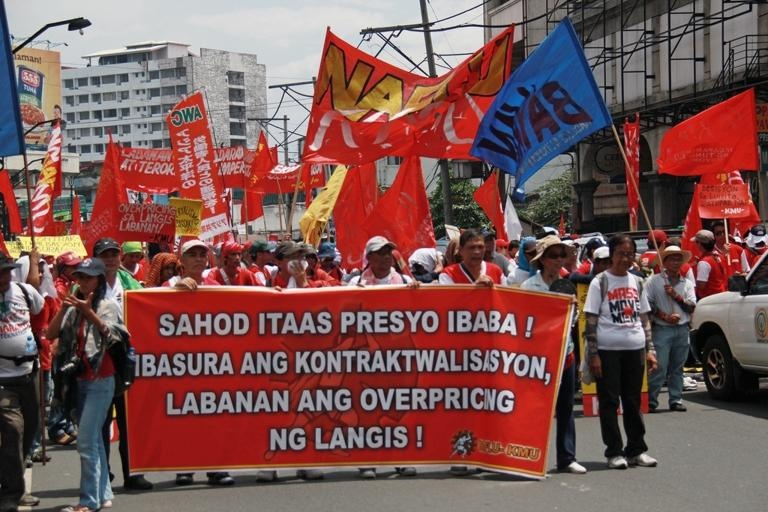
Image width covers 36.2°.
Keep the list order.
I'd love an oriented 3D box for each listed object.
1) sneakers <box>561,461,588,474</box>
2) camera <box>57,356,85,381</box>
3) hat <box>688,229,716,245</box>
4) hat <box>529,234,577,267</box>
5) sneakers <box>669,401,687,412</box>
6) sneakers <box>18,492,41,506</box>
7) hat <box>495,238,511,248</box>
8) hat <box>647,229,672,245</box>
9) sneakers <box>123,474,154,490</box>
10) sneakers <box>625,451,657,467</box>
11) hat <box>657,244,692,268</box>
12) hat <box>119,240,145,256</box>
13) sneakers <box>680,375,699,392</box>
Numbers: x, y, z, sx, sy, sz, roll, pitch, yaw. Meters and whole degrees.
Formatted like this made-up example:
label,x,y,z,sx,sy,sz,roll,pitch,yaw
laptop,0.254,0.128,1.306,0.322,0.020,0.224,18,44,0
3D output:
label,x,y,z,sx,sy,sz,roll,pitch,yaw
sneakers,2.580,2.887,15.865,0.357,0.173,0.136,-6,-8,29
camera,-3.995,1.437,14.878,0.325,0.268,0.135,-2,0,-17
hat,5.667,-0.325,20.922,0.271,0.201,0.374,-3,4,-31
hat,2.351,-0.149,16.050,0.452,0.236,0.486,5,-35,-33
sneakers,4.726,2.439,18.846,0.111,0.136,0.321,1,-9,-11
sneakers,-4.617,3.192,15.273,0.238,0.163,0.290,-2,0,-6
hat,2.154,-0.220,21.378,0.205,0.141,0.074,-4,-43,32
hat,5.266,-0.336,22.405,0.298,0.268,0.424,5,10,33
sneakers,-3.283,3.055,15.694,0.328,0.161,0.187,-1,-3,16
sneakers,3.527,2.807,16.081,0.433,0.221,0.172,-2,-2,17
hat,4.642,-0.040,18.798,0.388,0.134,0.425,0,-25,5
hat,-4.058,-0.128,18.834,0.314,0.232,0.422,-1,10,-7
sneakers,5.430,2.272,20.777,0.226,0.143,0.450,1,10,12
